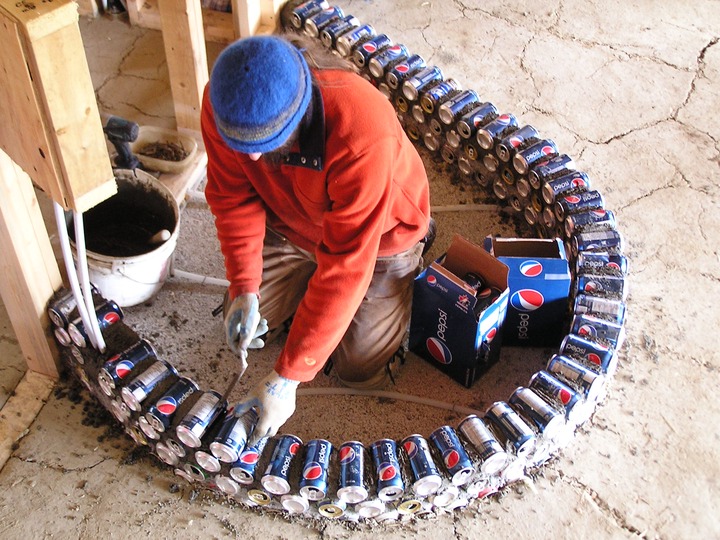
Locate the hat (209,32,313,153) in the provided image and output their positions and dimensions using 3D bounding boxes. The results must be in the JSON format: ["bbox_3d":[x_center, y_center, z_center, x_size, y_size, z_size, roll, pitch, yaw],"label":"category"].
[{"bbox_3d":[-0.386,-0.698,2.419,0.403,0.296,0.484,-5,55,-9],"label":"hat"}]

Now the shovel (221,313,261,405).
[{"bbox_3d":[-0.557,0.421,3.138,0.025,0.492,0.113,-9,52,-50],"label":"shovel"}]

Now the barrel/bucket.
[{"bbox_3d":[-1.225,-0.173,3.484,0.539,0.559,0.561,9,59,-16],"label":"barrel/bucket"}]

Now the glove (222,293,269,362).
[{"bbox_3d":[-0.518,0.265,3.040,0.191,0.116,0.287,-9,86,-11],"label":"glove"}]

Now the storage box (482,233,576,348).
[{"bbox_3d":[0.863,0.107,3.460,0.315,0.506,0.252,2,34,8],"label":"storage box"}]

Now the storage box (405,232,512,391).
[{"bbox_3d":[0.477,0.203,3.295,0.371,0.682,0.226,32,53,28],"label":"storage box"}]
